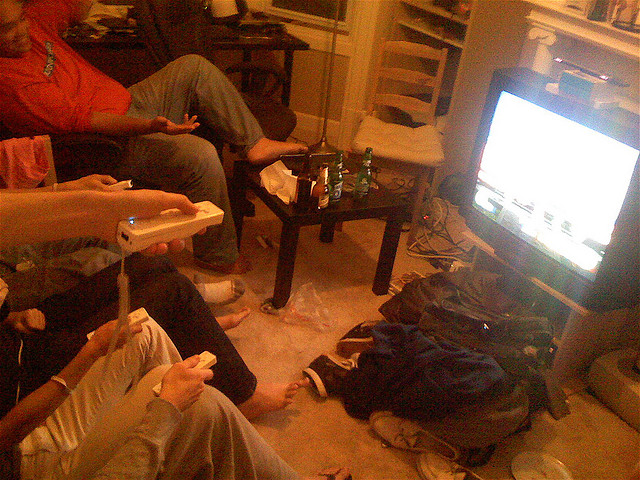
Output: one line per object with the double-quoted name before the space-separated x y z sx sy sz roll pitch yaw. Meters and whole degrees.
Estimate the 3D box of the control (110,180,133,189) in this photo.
"control" -0.682 -0.191 1.662 0.059 0.013 0.057 -12 19 -34

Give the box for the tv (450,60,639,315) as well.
"tv" 1.210 -0.292 2.398 0.322 0.985 1.077 -7 31 -22

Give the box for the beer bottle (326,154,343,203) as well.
"beer bottle" 0.082 -0.338 2.677 0.086 0.263 0.122 7 30 1

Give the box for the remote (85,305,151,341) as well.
"remote" -0.668 0.265 1.577 0.141 0.042 0.141 -31 6 -9

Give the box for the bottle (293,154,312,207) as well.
"bottle" -0.088 -0.317 2.621 0.070 0.258 0.140 5 30 -2

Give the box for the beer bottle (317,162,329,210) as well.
"beer bottle" 0.021 -0.293 2.663 0.066 0.222 0.156 6 29 -1
